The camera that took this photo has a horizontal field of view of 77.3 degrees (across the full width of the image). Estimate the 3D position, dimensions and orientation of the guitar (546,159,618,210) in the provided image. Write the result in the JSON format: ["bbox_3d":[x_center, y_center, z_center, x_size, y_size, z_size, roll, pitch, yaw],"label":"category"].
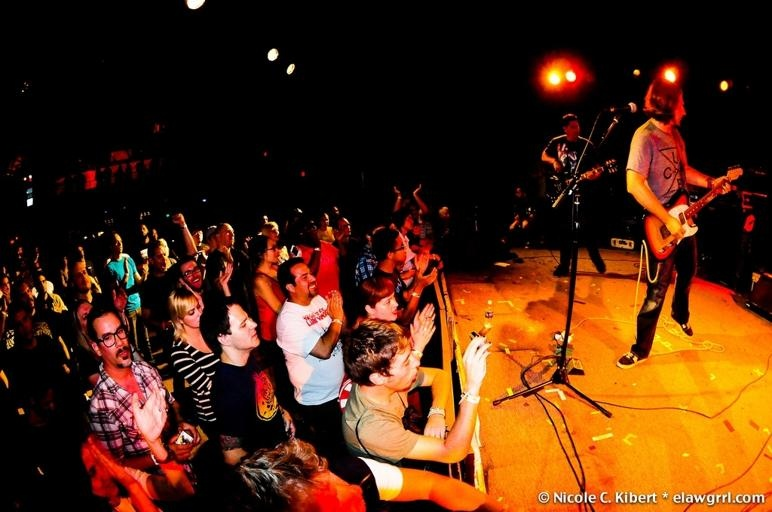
[{"bbox_3d":[3.460,-1.287,8.535,1.914,0.246,0.932,-35,11,-37],"label":"guitar"}]

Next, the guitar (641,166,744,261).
[{"bbox_3d":[4.360,-0.589,6.769,1.679,0.594,0.225,-35,-20,3],"label":"guitar"}]

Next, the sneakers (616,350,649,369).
[{"bbox_3d":[3.174,1.350,6.331,0.475,0.178,0.191,-7,-38,-5],"label":"sneakers"}]

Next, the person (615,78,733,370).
[{"bbox_3d":[3.870,-0.438,6.324,1.580,3.574,1.007,-13,13,-21],"label":"person"}]
